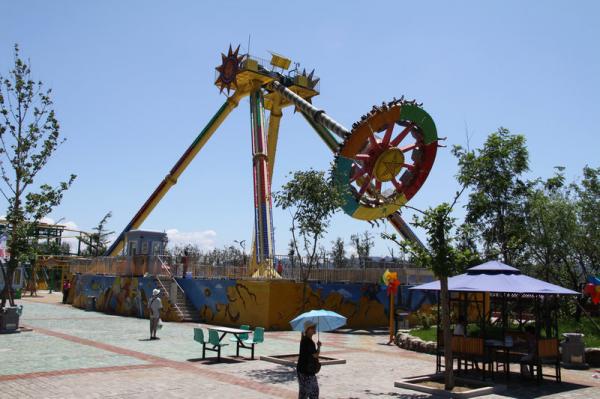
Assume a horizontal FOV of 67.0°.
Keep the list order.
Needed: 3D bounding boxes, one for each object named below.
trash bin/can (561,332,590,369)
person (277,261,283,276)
[{"bbox_3d":[11.684,6.416,19.298,1.238,1.340,1.195,4,-10,-17],"label":"trash bin/can"},{"bbox_3d":[-1.293,4.570,29.995,0.384,0.859,0.652,1,-11,0],"label":"person"}]
